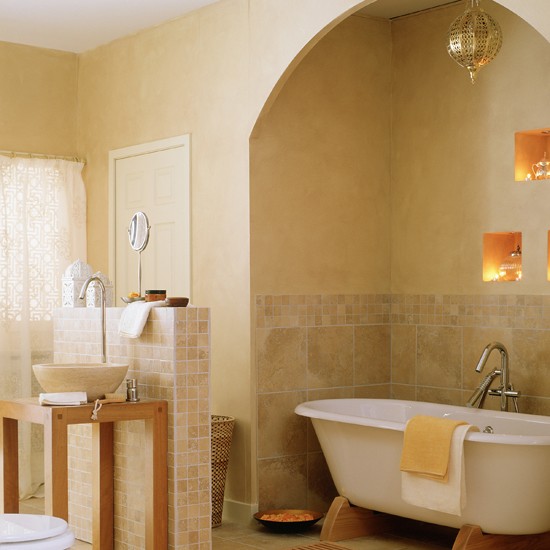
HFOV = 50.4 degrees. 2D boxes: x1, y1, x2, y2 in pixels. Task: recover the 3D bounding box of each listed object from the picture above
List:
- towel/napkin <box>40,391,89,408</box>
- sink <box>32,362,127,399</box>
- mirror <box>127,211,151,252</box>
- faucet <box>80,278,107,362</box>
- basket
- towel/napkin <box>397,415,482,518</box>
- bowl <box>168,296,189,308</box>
[{"bbox_3d":[-0.882,0.519,2.455,0.193,0.062,0.163,1,-2,-22],"label":"towel/napkin"},{"bbox_3d":[-0.854,0.474,2.589,0.347,0.161,0.313,-1,-2,36],"label":"sink"},{"bbox_3d":[-0.729,-0.229,3.158,0.164,0.217,0.019,-3,-6,31],"label":"mirror"},{"bbox_3d":[-0.944,0.191,3.067,0.126,0.045,0.451,-6,-46,-21],"label":"faucet"},{"bbox_3d":[-0.314,1.179,3.474,0.064,0.636,0.165,0,-1,41],"label":"basket"},{"bbox_3d":[0.733,0.810,2.755,0.322,0.617,0.412,7,-8,-40],"label":"towel/napkin"},{"bbox_3d":[-0.450,0.130,2.745,0.110,0.039,0.061,1,-2,-31],"label":"bowl"}]
